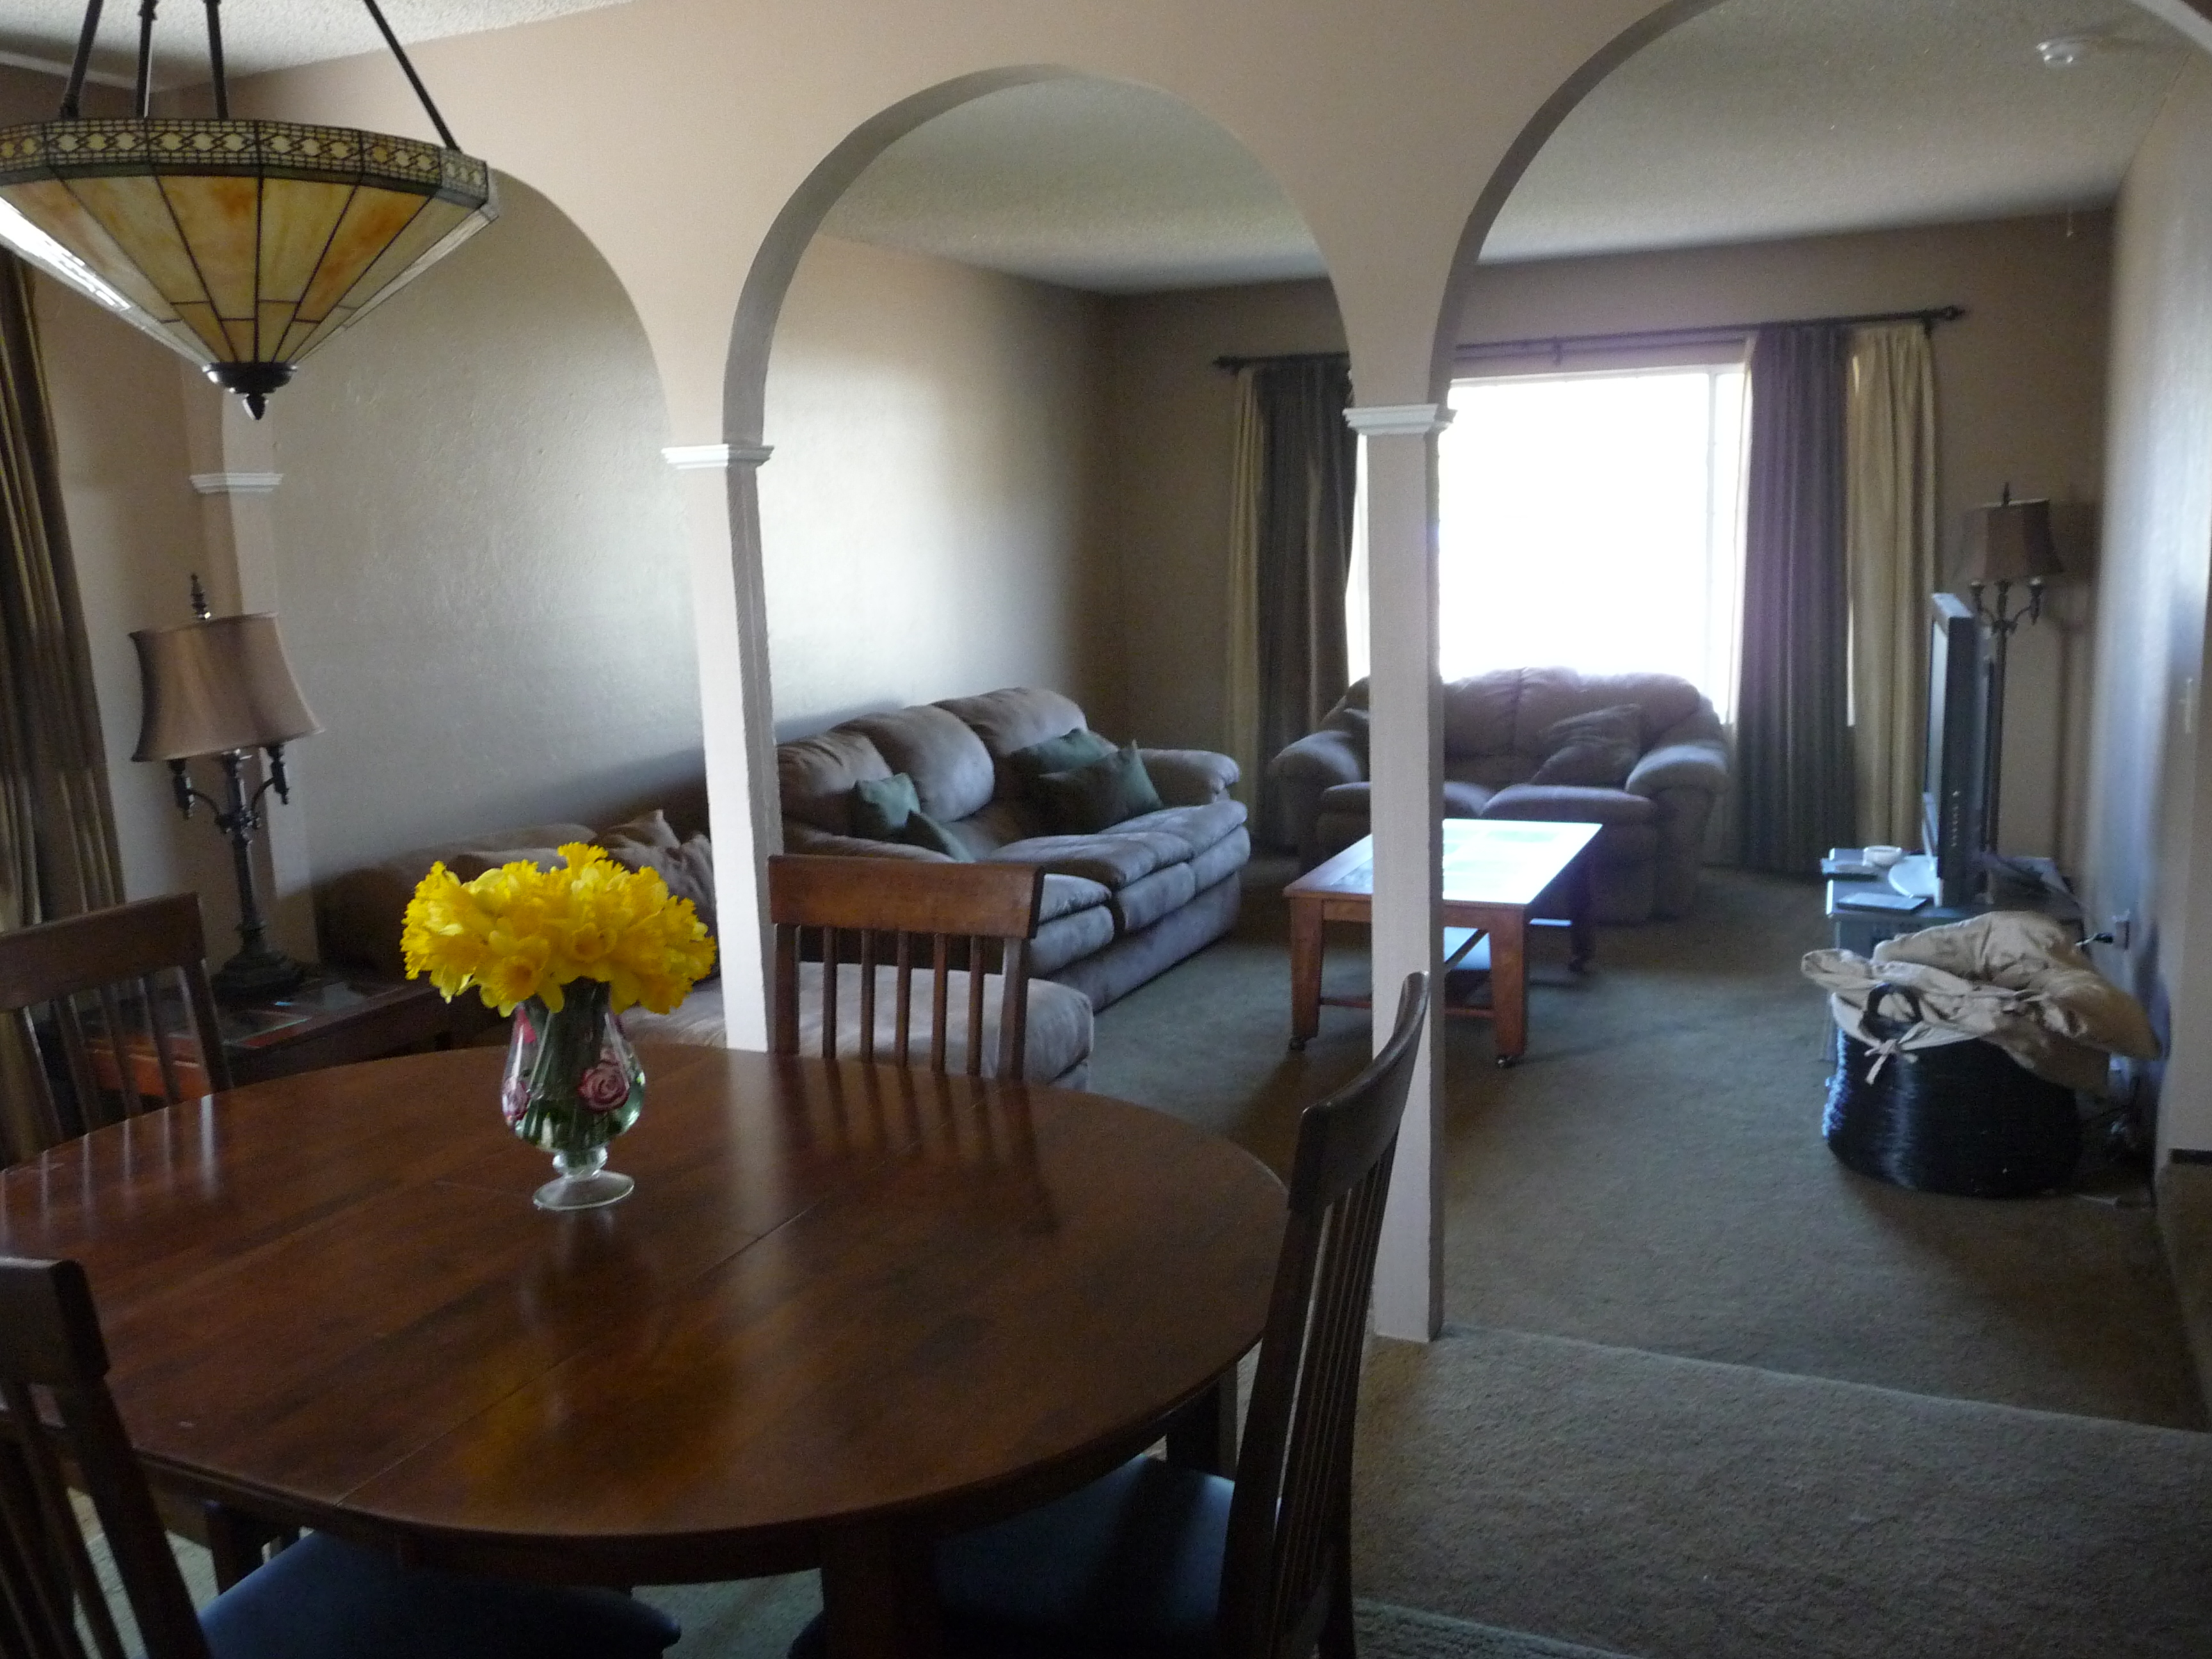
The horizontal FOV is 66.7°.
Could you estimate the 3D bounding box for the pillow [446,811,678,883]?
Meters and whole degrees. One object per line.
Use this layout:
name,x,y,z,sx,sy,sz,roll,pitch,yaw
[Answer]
pillow,-1.567,0.045,5.123,0.441,0.136,0.445,4,7,21

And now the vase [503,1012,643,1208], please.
vase,-0.787,0.376,2.496,0.209,0.353,0.198,-2,13,-14

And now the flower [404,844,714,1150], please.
flower,-0.811,0.236,2.566,0.433,0.442,0.440,1,8,21

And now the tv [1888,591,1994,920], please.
tv,2.864,-0.292,5.763,0.318,0.888,1.254,1,8,27

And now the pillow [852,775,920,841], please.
pillow,-0.789,-0.067,5.874,0.070,0.143,0.204,-8,9,24
